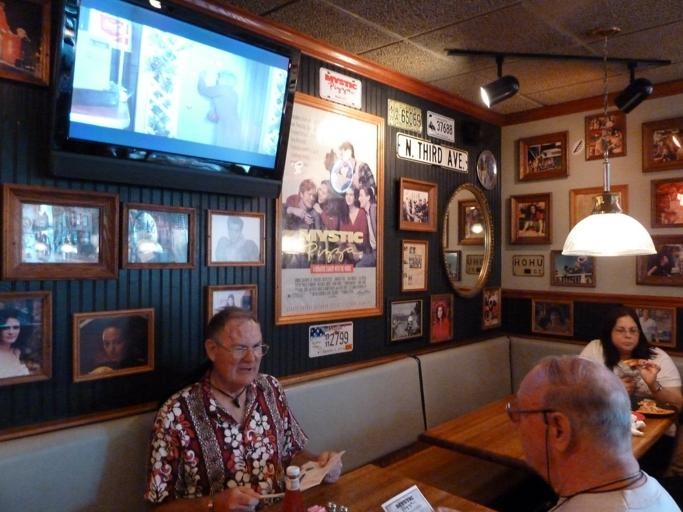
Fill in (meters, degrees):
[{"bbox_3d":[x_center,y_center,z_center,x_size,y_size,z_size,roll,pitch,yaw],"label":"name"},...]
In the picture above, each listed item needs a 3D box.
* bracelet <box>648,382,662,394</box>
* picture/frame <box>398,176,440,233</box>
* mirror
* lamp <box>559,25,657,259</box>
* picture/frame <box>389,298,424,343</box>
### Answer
[{"bbox_3d":[2.327,0.984,3.721,0.082,0.044,0.101,-1,-2,-8],"label":"bracelet"},{"bbox_3d":[0.684,-0.476,4.547,0.055,0.462,0.526,-1,-1,45],"label":"picture/frame"},{"bbox_3d":[1.261,-0.167,5.111,0.104,1.437,1.208,2,3,39],"label":"mirror"},{"bbox_3d":[2.059,-0.810,3.828,0.551,1.657,1.383,-1,1,32],"label":"lamp"},{"bbox_3d":[0.559,0.573,4.449,0.427,0.378,0.032,0,-2,-44],"label":"picture/frame"}]
